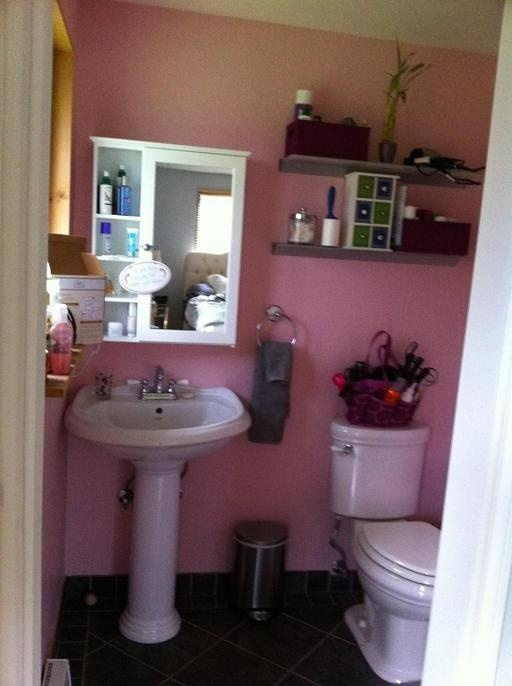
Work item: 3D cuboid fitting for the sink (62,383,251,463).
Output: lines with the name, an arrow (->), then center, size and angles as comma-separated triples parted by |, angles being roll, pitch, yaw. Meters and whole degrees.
sink -> -0.329, 0.304, 2.069 | 0.602, 0.220, 0.485 | 3, 7, -14

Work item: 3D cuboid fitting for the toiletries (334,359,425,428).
toiletries -> 0.461, 0.192, 2.296 | 0.292, 0.149, 0.238 | 0, 5, 2

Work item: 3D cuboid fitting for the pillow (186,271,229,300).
pillow -> -0.165, -0.188, 2.147 | 0.109, 0.094, 0.032 | -8, 26, -14

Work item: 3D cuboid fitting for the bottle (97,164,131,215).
bottle -> -0.474, -0.513, 2.065 | 0.113, 0.166, 0.039 | 3, 7, -15

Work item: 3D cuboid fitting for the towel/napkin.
towel/napkin -> 0.055, 0.193, 2.322 | 0.130, 0.391, 0.081 | 7, 7, 20

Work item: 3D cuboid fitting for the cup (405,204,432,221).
cup -> 0.623, -0.487, 2.304 | 0.101, 0.045, 0.056 | 5, 10, -14

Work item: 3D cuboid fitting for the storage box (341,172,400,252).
storage box -> 0.406, -0.473, 2.220 | 0.182, 0.271, 0.091 | 6, 7, 12

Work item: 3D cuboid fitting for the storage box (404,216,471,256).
storage box -> 0.677, -0.391, 2.281 | 0.252, 0.134, 0.118 | 2, 7, -10

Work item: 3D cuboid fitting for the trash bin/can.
trash bin/can -> -0.001, 0.870, 2.335 | 0.233, 0.340, 0.319 | 0, 3, -8

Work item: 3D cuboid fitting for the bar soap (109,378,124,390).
bar soap -> -0.510, 0.152, 2.261 | 0.033, 0.044, 0.035 | -4, 6, -16

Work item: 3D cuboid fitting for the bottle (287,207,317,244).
bottle -> 0.171, -0.424, 2.226 | 0.111, 0.162, 0.119 | 2, 6, 0

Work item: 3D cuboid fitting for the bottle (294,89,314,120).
bottle -> 0.169, -0.834, 2.159 | 0.056, 0.118, 0.129 | 4, 6, -3

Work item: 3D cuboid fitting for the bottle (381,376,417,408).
bottle -> 0.547, 0.194, 2.378 | 0.138, 0.135, 0.080 | 11, 6, -21

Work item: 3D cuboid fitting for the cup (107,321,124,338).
cup -> -0.490, -0.046, 2.129 | 0.053, 0.057, 0.054 | 3, -3, 0

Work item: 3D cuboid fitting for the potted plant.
potted plant -> 0.534, -0.873, 2.208 | 0.145, 0.463, 0.277 | 6, 7, 12
